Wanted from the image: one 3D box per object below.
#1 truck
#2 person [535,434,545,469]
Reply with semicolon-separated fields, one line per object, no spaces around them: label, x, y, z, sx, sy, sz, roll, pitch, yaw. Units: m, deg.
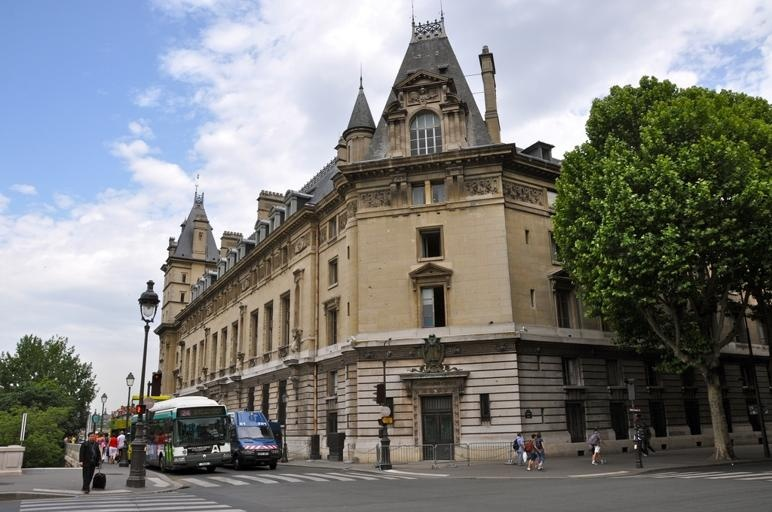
truck;-8.411;11.774;46.724;2.220;2.370;4.824;5;-28;-22
person;8.757;11.239;42.197;0.377;2.065;1.435;-6;-20;10
